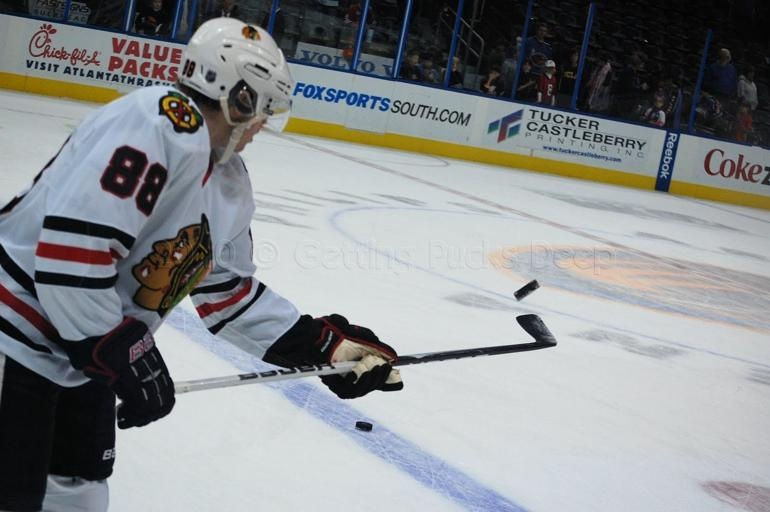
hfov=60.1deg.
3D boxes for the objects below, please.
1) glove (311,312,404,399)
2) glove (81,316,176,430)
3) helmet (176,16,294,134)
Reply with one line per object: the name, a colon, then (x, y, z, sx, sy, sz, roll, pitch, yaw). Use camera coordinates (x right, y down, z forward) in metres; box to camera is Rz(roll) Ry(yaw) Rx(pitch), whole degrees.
glove: (-0.096, 0.378, 2.594, 0.333, 0.295, 0.151, 32, 20, -14)
glove: (-0.790, 0.348, 2.056, 0.232, 0.318, 0.100, -37, 36, -22)
helmet: (-0.496, -0.601, 2.284, 0.393, 0.362, 0.326, -2, 33, -33)
